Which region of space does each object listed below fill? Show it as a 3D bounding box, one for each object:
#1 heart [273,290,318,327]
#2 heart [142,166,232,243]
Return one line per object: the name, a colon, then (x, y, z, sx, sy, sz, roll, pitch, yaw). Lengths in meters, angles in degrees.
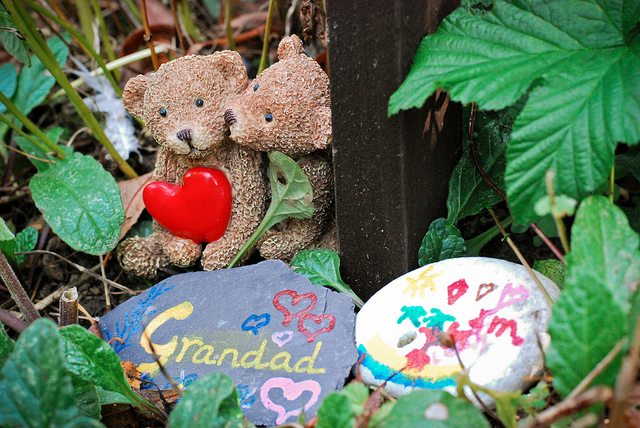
heart: (-0.079, 0.222, 1.367, 0.009, 0.088, 0.082, -21, -22, 36)
heart: (-0.345, -0.018, 1.528, 0.248, 0.206, 0.054, -3, 19, 15)
